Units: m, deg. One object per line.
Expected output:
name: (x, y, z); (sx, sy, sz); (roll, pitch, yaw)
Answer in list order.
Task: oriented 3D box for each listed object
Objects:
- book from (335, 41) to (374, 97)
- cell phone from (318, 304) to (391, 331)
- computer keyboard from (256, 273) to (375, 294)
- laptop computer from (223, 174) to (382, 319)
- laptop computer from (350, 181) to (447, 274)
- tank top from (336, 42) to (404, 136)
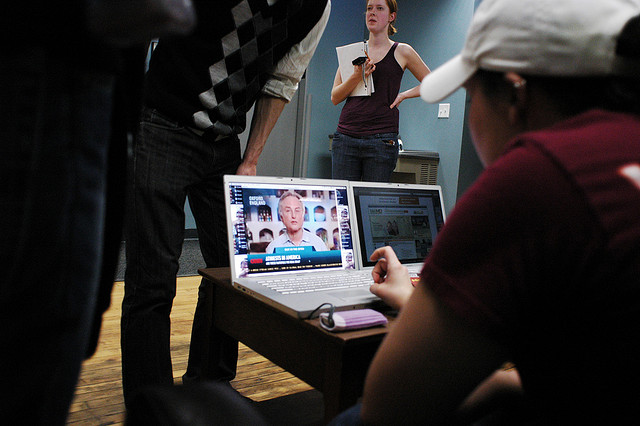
book: (0.204, -0.913, 2.893); (0.299, 0.314, 0.313); (-11, 10, 23)
cell phone: (0.080, 0.243, 1.028); (0.090, 0.021, 0.074); (-3, 11, -23)
computer keyboard: (0.000, 0.213, 1.330); (0.367, 0.019, 0.146); (-1, 3, -36)
laptop computer: (0.012, 0.068, 1.330); (0.468, 0.354, 0.466); (-1, 3, -40)
laptop computer: (0.232, 0.004, 1.739); (0.418, 0.317, 0.263); (-1, 23, -26)
tank top: (0.327, -0.748, 2.751); (0.408, 0.563, 0.167); (-2, -14, 40)
